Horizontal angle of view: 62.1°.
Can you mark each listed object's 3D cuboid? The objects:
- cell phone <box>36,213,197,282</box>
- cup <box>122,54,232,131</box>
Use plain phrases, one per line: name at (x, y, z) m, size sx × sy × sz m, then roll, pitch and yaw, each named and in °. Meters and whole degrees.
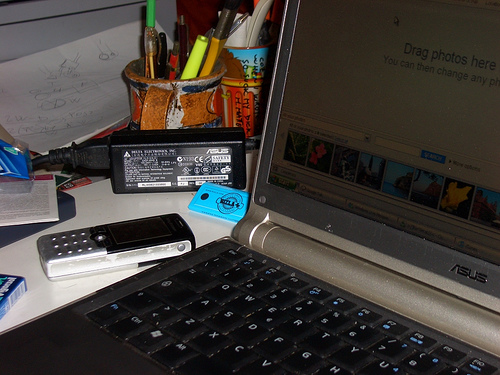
cell phone at (-0.149, 0.069, 0.500) m, size 0.171 × 0.040 × 0.080 m, roll -8°, pitch 40°, yaw -10°
cup at (-0.121, -0.125, 0.687) m, size 0.117 × 0.129 × 0.186 m, roll 7°, pitch 31°, yaw 10°
